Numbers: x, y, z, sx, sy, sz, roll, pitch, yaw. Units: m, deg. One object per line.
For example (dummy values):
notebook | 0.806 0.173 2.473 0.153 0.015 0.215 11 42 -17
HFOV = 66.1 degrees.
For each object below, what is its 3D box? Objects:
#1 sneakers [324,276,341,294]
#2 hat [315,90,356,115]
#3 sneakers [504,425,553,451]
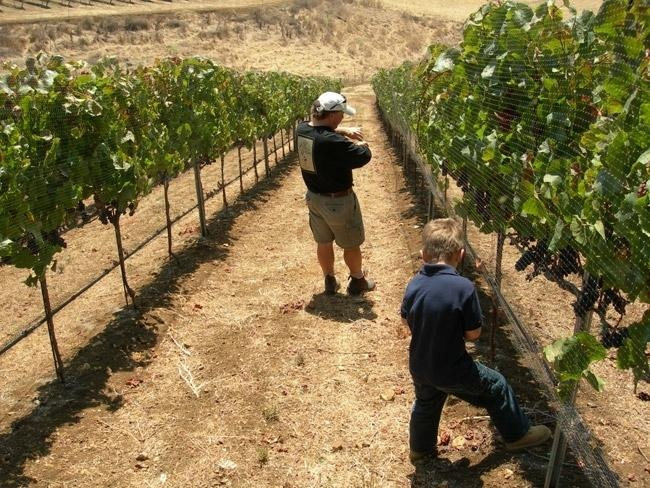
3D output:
sneakers | 0.098 0.535 6.811 0.122 0.217 0.311 1 30 5
hat | 0.119 -1.706 6.010 0.437 0.208 0.273 -9 31 -20
sneakers | 1.561 1.501 3.879 0.279 0.183 0.121 -29 28 1
